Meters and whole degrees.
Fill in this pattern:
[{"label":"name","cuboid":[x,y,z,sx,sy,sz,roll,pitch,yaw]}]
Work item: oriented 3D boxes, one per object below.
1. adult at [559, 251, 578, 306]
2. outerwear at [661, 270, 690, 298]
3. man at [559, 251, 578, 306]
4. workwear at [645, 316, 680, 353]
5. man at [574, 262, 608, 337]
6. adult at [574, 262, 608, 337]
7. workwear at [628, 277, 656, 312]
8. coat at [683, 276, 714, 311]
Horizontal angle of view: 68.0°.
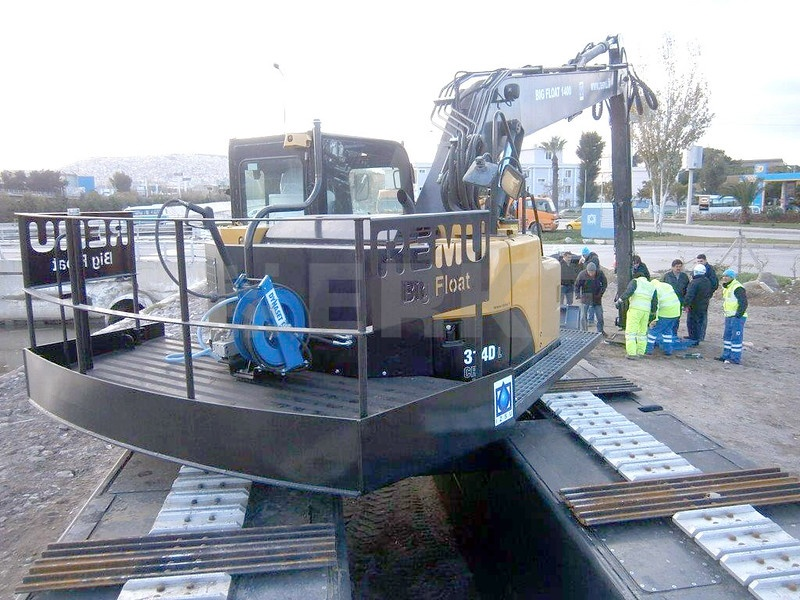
[{"label":"adult","cuboid":[4.074,-0.414,14.402,0.519,1.556,0.492,2,13,20]},{"label":"outerwear","cuboid":[5.611,-0.324,12.041,0.469,0.575,0.213,-3,6,-1]},{"label":"man","cuboid":[4.086,-0.425,14.366,0.535,1.565,0.476,0,1,15]},{"label":"workwear","cuboid":[5.243,0.673,11.817,0.506,0.917,0.418,-3,42,-1]},{"label":"man","cuboid":[4.206,-0.037,12.995,0.599,1.744,0.527,1,24,18]},{"label":"adult","cuboid":[4.246,-0.054,13.027,0.616,1.744,0.513,1,30,24]},{"label":"workwear","cuboid":[4.569,-0.105,11.151,0.435,0.691,0.371,13,11,12]},{"label":"coat","cuboid":[6.040,-0.159,11.987,0.555,0.573,0.284,-11,22,-24]}]
